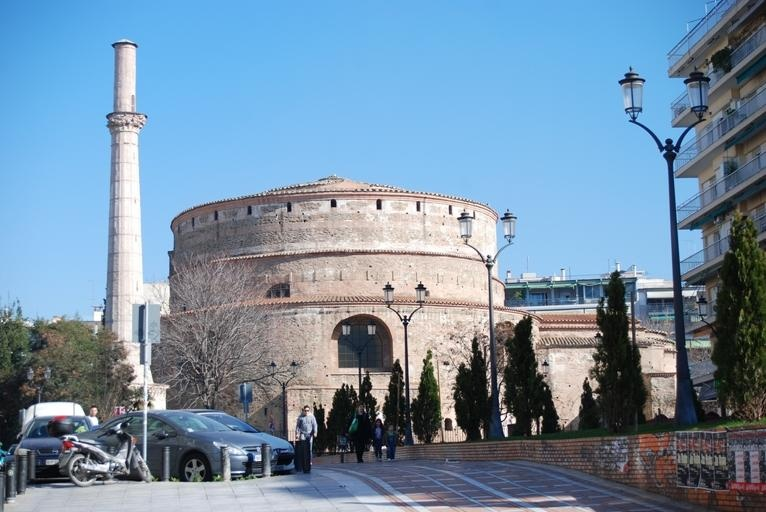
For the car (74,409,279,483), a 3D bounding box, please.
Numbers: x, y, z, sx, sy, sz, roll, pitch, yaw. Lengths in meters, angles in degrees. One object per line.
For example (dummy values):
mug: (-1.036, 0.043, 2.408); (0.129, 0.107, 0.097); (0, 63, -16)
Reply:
car: (-6.513, 6.070, 40.579); (7.623, 2.560, 3.351); (-9, -9, 39)
